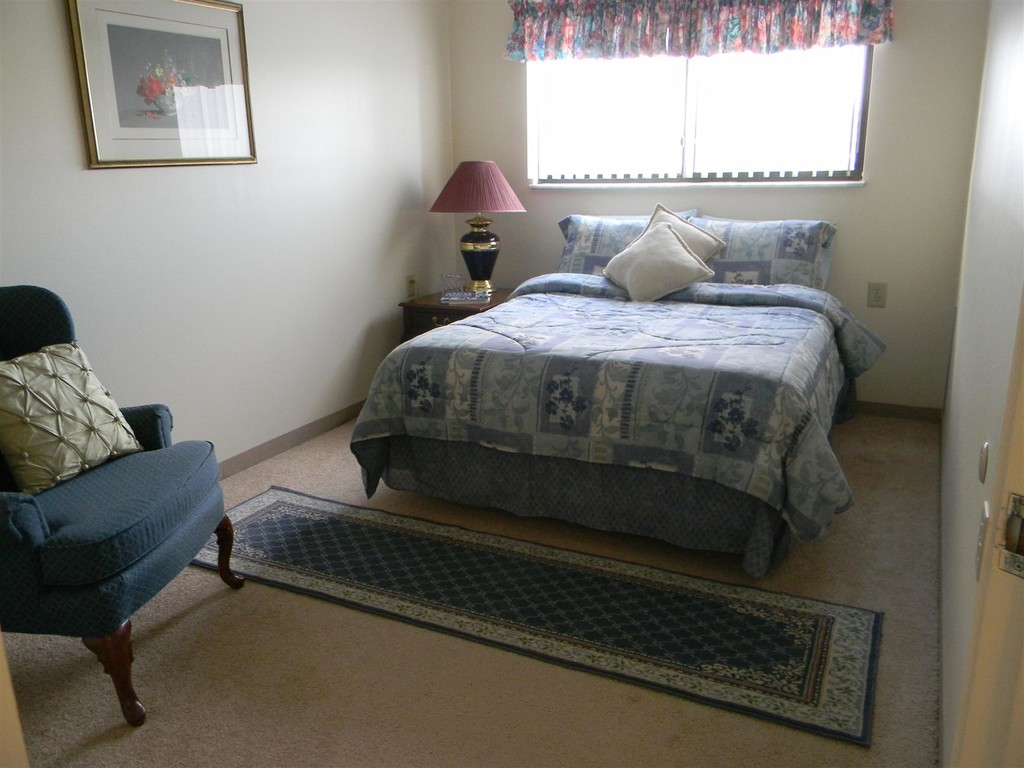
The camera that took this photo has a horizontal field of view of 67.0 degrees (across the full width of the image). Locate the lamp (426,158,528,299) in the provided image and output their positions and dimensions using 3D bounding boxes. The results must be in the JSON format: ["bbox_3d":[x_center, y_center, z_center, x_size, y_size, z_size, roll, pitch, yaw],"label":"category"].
[{"bbox_3d":[-0.145,-0.972,4.839,0.717,0.915,0.739,1,12,6],"label":"lamp"}]
